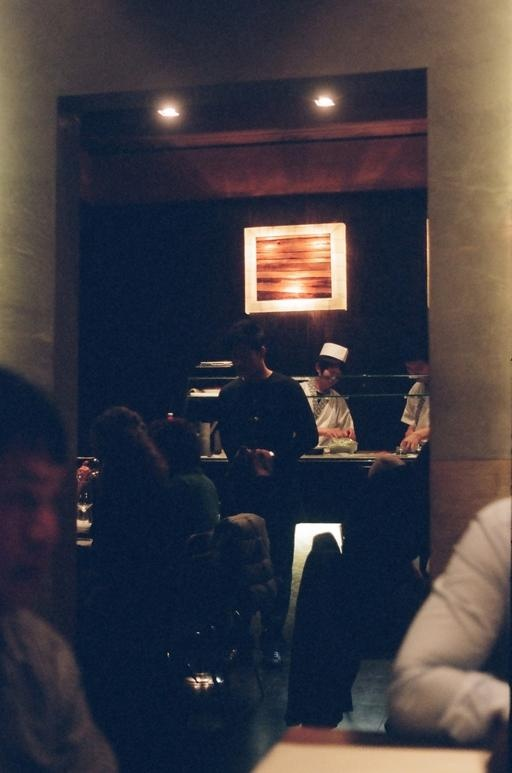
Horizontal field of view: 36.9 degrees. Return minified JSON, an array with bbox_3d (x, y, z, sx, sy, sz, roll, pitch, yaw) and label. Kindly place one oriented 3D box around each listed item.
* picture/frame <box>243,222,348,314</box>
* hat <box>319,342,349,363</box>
[{"bbox_3d":[0.156,-0.443,2.896,0.359,0.304,0.041,0,6,5],"label":"picture/frame"},{"bbox_3d":[0.305,-0.127,3.014,0.079,0.050,0.079,9,-3,15],"label":"hat"}]
